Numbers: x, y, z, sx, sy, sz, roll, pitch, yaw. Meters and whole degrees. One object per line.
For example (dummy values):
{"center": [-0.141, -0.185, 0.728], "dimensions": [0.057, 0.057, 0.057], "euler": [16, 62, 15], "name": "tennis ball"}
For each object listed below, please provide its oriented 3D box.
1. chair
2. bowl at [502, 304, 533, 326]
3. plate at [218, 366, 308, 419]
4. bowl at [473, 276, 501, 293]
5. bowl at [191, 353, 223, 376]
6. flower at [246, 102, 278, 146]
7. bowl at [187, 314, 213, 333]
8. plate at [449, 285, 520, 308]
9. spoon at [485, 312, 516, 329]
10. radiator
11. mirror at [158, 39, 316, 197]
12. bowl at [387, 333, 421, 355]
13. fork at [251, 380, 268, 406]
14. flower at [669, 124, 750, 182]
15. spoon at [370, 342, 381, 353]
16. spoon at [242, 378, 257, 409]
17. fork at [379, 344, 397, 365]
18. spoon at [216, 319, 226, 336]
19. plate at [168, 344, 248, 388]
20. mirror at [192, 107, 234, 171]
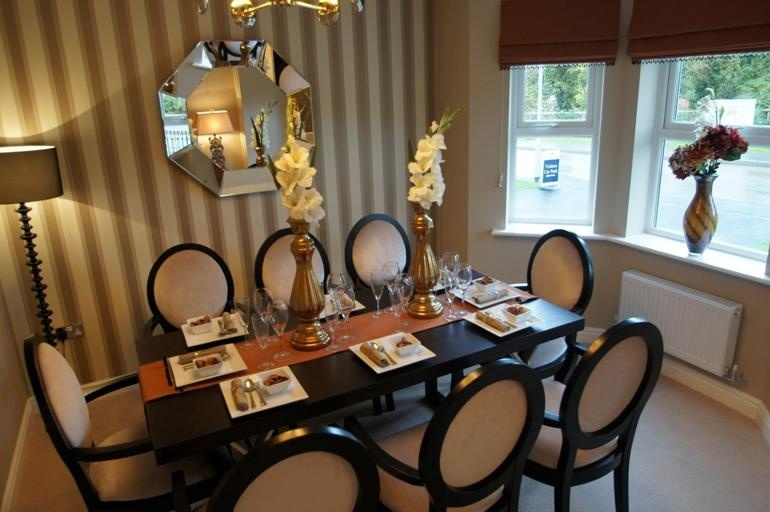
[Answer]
{"center": [-0.579, 0.748, 3.159], "dimensions": [2.636, 0.951, 0.864], "euler": [-10, 17, -19], "name": "chair"}
{"center": [0.831, 0.372, 3.340], "dimensions": [0.108, 0.066, 0.146], "euler": [-9, 19, -21], "name": "bowl"}
{"center": [-0.661, 0.723, 2.886], "dimensions": [0.459, 0.125, 0.280], "euler": [-8, 17, -14], "name": "plate"}
{"center": [0.711, 0.208, 3.756], "dimensions": [0.105, 0.056, 0.144], "euler": [12, 18, 42], "name": "bowl"}
{"center": [-1.000, 0.610, 3.009], "dimensions": [0.125, 0.067, 0.108], "euler": [-10, 25, -21], "name": "bowl"}
{"center": [-1.049, -1.086, 4.498], "dimensions": [0.170, 0.332, 0.168], "euler": [27, 25, 15], "name": "flower"}
{"center": [-1.177, 0.438, 3.391], "dimensions": [0.126, 0.062, 0.097], "euler": [-9, 20, -22], "name": "bowl"}
{"center": [0.704, 0.288, 3.601], "dimensions": [0.204, 0.026, 0.218], "euler": [-13, 19, -26], "name": "plate"}
{"center": [0.699, 0.401, 3.283], "dimensions": [0.060, 0.036, 0.231], "euler": [-3, 21, -42], "name": "spoon"}
{"center": [2.159, 0.496, 3.803], "dimensions": [0.100, 0.531, 0.739], "euler": [-6, 21, -30], "name": "radiator"}
{"center": [-1.226, -1.082, 4.165], "dimensions": [1.205, 1.257, 0.039], "euler": [-25, 34, -21], "name": "mirror"}
{"center": [0.098, 0.510, 3.125], "dimensions": [0.109, 0.064, 0.130], "euler": [-9, 17, -32], "name": "bowl"}
{"center": [-0.660, 0.734, 2.846], "dimensions": [0.042, 0.034, 0.215], "euler": [-12, 21, -15], "name": "fork"}
{"center": [2.382, -0.758, 3.932], "dimensions": [0.458, 0.370, 0.166], "euler": [-1, 17, 10], "name": "flower"}
{"center": [-0.055, 0.537, 3.099], "dimensions": [0.033, 0.021, 0.056], "euler": [-5, 14, -15], "name": "spoon"}
{"center": [-0.721, 0.735, 2.859], "dimensions": [0.047, 0.032, 0.201], "euler": [-7, 26, -12], "name": "spoon"}
{"center": [0.010, 0.576, 3.060], "dimensions": [0.037, 0.037, 0.230], "euler": [-7, 23, -20], "name": "fork"}
{"center": [-1.043, 0.457, 3.377], "dimensions": [0.037, 0.046, 0.143], "euler": [-28, 24, -7], "name": "spoon"}
{"center": [-1.027, 0.631, 3.043], "dimensions": [0.314, 0.048, 0.236], "euler": [-13, 26, -26], "name": "plate"}
{"center": [-1.418, -0.963, 4.437], "dimensions": [0.282, 0.437, 0.289], "euler": [-7, 17, -12], "name": "mirror"}
